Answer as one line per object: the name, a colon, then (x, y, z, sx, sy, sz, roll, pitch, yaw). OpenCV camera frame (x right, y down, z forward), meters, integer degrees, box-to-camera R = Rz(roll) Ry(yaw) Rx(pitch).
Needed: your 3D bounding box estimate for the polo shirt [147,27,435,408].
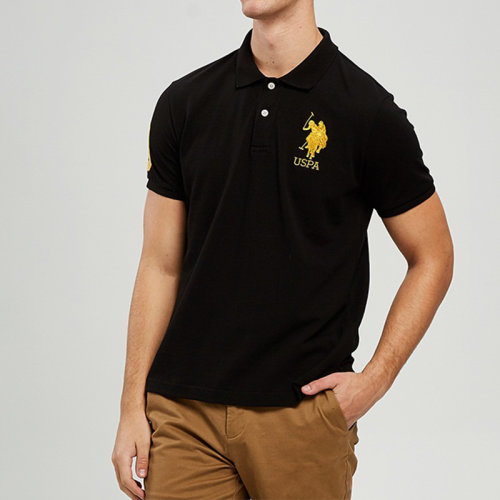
polo shirt: (0.086, -0.103, 2.036, 0.883, 1.032, 0.307, 9, 2, 3)
